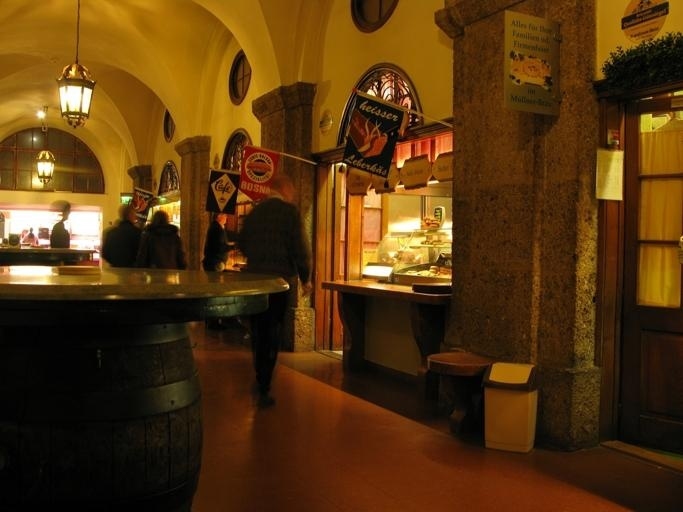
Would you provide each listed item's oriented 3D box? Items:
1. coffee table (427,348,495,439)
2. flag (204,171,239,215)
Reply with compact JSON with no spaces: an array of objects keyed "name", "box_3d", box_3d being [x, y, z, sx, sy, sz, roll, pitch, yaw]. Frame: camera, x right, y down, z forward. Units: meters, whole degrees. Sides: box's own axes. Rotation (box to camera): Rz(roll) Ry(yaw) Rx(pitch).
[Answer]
[{"name":"coffee table","box_3d":[0.925,1.088,4.702,0.549,0.518,0.508,1,2,-13]},{"name":"flag","box_3d":[-1.700,-0.911,8.343,0.451,0.617,0.237,0,0,-15]}]
